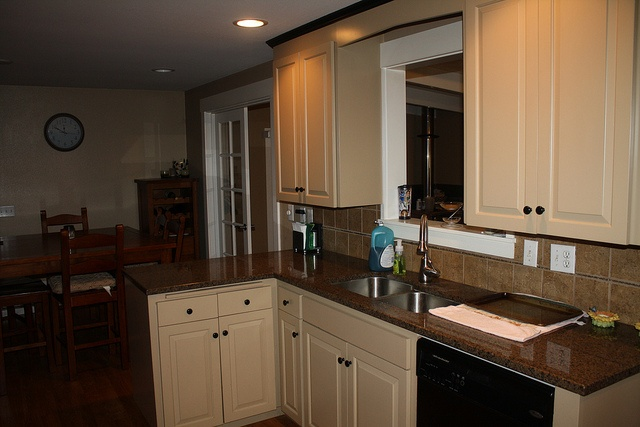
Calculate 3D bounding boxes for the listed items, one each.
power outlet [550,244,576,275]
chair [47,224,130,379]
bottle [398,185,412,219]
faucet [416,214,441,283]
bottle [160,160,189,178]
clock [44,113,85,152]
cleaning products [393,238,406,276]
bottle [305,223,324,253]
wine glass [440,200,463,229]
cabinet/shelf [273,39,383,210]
[{"bbox_3d":[1.387,0.257,2.660,0.020,0.199,0.160,-5,9,-35],"label":"power outlet"},{"bbox_3d":[-2.161,0.778,4.384,0.640,1.337,1.131,-6,5,-31],"label":"chair"},{"bbox_3d":[0.658,-0.085,3.604,0.091,0.255,0.076,-3,4,-3],"label":"bottle"},{"bbox_3d":[0.720,0.234,3.117,0.136,0.453,0.199,-2,4,14],"label":"faucet"},{"bbox_3d":[-1.922,-0.597,6.232,0.326,0.248,0.313,-3,4,0],"label":"bottle"},{"bbox_3d":[-3.165,-1.006,5.748,0.448,0.462,0.103,-3,7,-37],"label":"clock"},{"bbox_3d":[0.564,0.309,3.347,0.091,0.245,0.134,-2,4,11],"label":"cleaning products"},{"bbox_3d":[-0.044,0.211,4.081,0.182,0.248,0.094,-5,5,-20],"label":"bottle"},{"bbox_3d":[1.029,0.012,3.669,0.189,0.191,0.195,4,11,18],"label":"wine glass"},{"bbox_3d":[-0.046,-0.834,3.763,0.603,0.848,0.383,0,3,32],"label":"cabinet/shelf"}]
